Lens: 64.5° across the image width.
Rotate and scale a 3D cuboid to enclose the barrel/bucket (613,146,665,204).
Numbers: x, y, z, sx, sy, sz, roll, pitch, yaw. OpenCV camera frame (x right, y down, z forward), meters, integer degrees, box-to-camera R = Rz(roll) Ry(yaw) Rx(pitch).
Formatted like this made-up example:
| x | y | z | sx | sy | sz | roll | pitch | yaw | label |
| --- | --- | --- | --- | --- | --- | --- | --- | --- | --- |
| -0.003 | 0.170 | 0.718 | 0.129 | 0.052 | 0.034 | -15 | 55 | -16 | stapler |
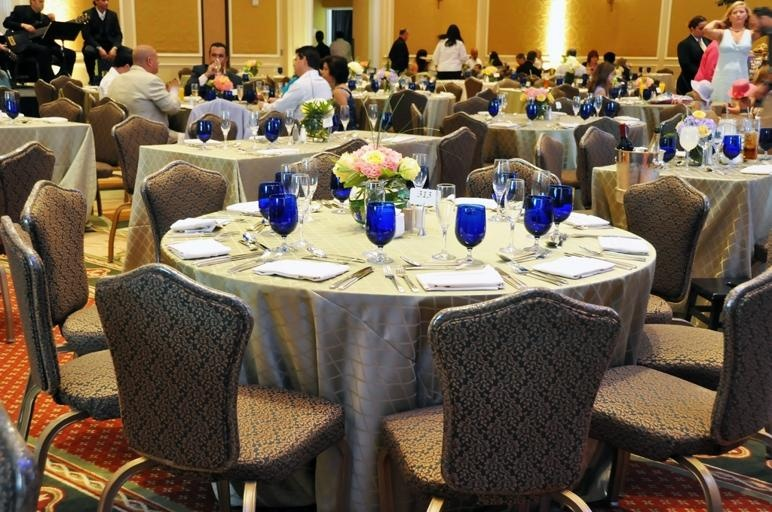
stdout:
| x | y | z | sx | sy | sz | roll | pitch | yaw | label |
| --- | --- | --- | --- | --- | --- | --- | --- | --- | --- |
| 1.504 | -0.558 | 3.863 | 0.320 | 0.394 | 0.376 | 1 | 15 | 2 | barrel/bucket |
